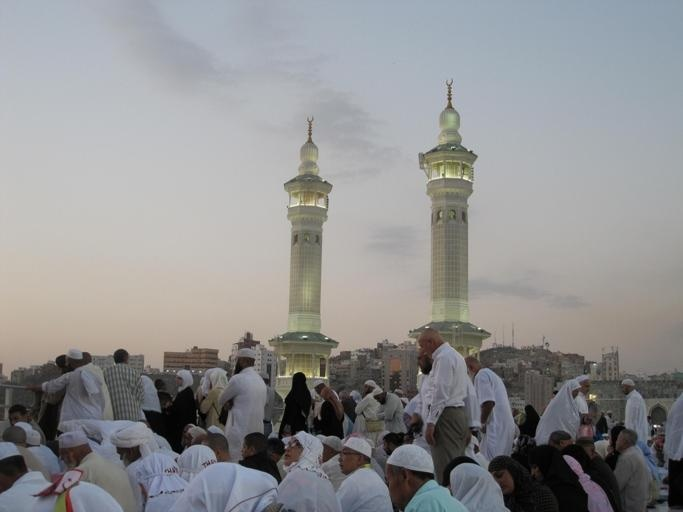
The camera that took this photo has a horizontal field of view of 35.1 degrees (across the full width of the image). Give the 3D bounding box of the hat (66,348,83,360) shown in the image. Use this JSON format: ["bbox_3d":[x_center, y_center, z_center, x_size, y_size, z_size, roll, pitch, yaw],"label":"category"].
[{"bbox_3d":[-3.546,1.324,14.385,0.201,0.133,0.325,5,-8,-17],"label":"hat"}]

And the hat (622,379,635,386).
[{"bbox_3d":[4.948,2.206,18.662,0.172,0.160,0.126,-16,0,-14],"label":"hat"}]

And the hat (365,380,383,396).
[{"bbox_3d":[0.530,2.266,18.425,0.305,0.279,0.243,0,-12,-20],"label":"hat"}]

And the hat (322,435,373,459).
[{"bbox_3d":[0.016,2.122,12.273,0.574,0.225,0.351,2,-16,7],"label":"hat"}]

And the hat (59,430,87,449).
[{"bbox_3d":[-2.920,1.999,11.694,0.256,0.125,0.183,-16,7,-4],"label":"hat"}]

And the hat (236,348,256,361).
[{"bbox_3d":[-1.360,1.392,15.316,0.250,0.164,0.386,3,-8,-6],"label":"hat"}]
